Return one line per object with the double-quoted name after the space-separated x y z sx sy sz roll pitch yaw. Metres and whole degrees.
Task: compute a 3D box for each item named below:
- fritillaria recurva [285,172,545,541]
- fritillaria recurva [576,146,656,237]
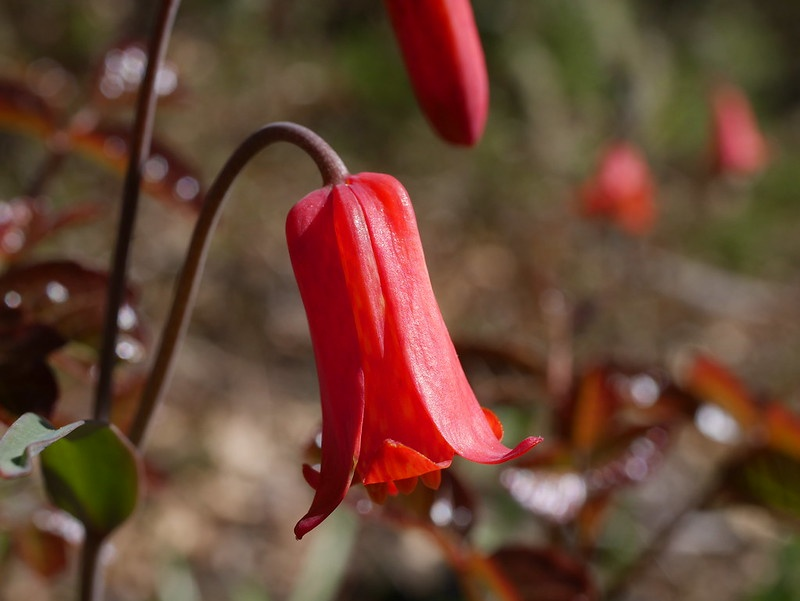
-0.042 0.031 1.293 0.345 0.539 0.340 -20 31 -14 "fritillaria recurva"
0.455 -0.212 1.801 0.131 0.203 0.162 1 -13 -7 "fritillaria recurva"
